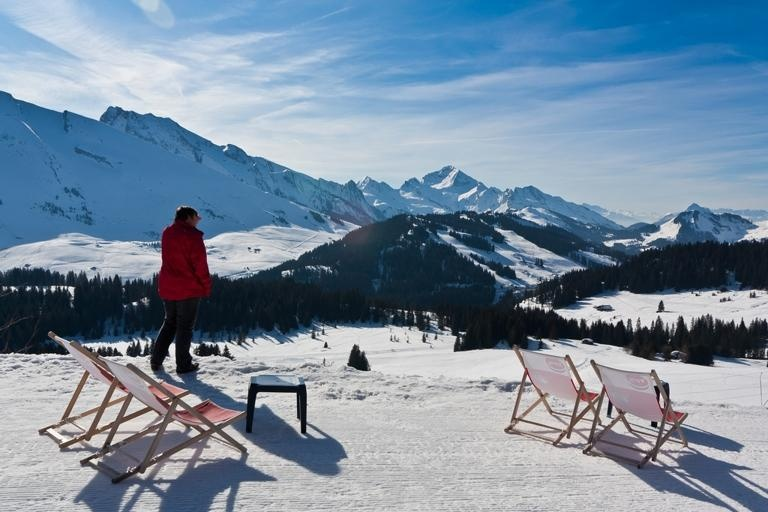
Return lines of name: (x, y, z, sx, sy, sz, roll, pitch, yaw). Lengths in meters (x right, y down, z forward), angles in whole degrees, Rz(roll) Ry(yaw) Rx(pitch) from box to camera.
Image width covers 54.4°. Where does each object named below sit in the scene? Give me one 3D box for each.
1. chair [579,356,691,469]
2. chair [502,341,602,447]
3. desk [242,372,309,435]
chair: (8.424, 5.029, 24.738, 3.781, 2.741, 2.514, 3, 0, -43)
chair: (5.598, 4.626, 25.596, 2.783, 2.921, 3.785, 1, 3, 42)
desk: (-3.543, 4.831, 24.709, 2.020, 1.410, 1.929, 2, -3, -6)
